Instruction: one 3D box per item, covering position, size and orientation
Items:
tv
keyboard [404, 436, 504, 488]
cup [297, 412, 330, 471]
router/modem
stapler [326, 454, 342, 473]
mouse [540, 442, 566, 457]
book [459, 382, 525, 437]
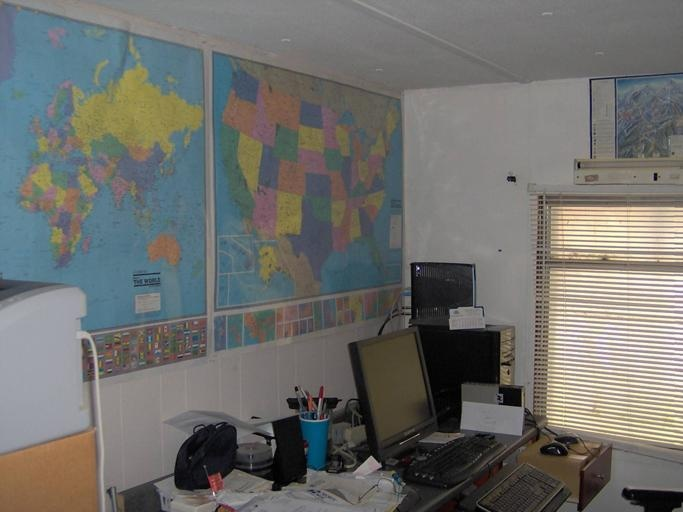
[{"bbox_3d":[0.248,0.644,2.565,0.115,0.505,0.558,-12,-7,33],"label":"tv"},{"bbox_3d":[0.486,0.912,2.383,0.238,0.056,0.501,5,7,35],"label":"keyboard"},{"bbox_3d":[-0.112,0.824,2.424,0.186,0.194,0.187,-4,-5,0],"label":"cup"},{"bbox_3d":[0.674,0.248,3.589,0.398,0.372,0.055,1,-3,-2],"label":"router/modem"},{"bbox_3d":[-0.030,0.919,2.381,0.053,0.051,0.053,4,0,8],"label":"stapler"},{"bbox_3d":[1.088,0.992,2.768,0.088,0.032,0.058,-5,2,29],"label":"mouse"},{"bbox_3d":[0.815,0.817,2.852,0.291,0.257,0.275,1,-7,23],"label":"book"}]
